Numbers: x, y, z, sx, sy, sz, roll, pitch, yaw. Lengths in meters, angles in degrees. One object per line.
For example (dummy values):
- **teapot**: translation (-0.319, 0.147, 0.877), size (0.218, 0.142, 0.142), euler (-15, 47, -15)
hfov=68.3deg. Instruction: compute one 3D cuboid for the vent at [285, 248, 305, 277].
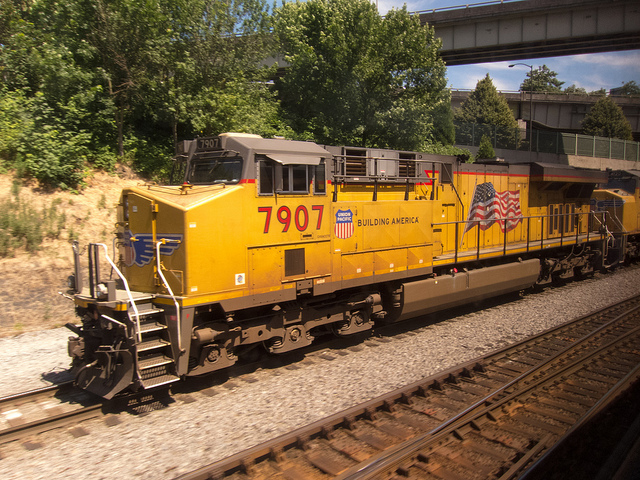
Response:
- **vent**: translation (-0.574, 0.482, 10.659), size (0.669, 0.516, 0.152), euler (3, -3, -43)
